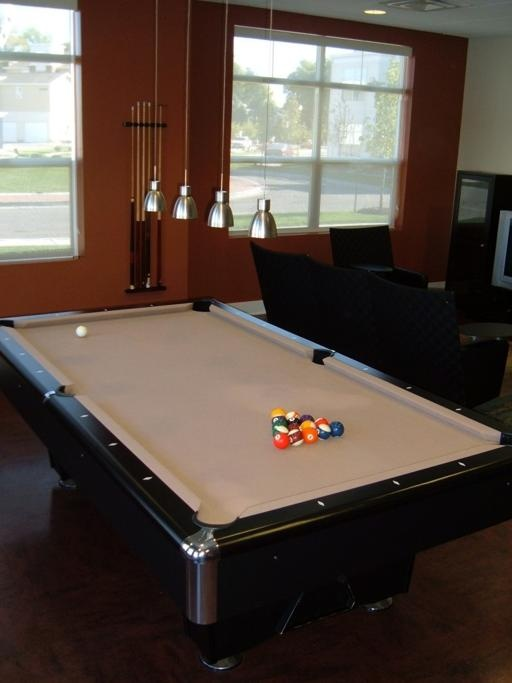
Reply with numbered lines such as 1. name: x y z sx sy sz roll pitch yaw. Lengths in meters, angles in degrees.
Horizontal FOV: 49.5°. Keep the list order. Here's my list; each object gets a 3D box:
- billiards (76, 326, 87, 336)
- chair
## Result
1. billiards: -0.807 -0.049 2.549 0.026 0.047 0.047 5 -26 -21
2. chair: 0.825 -0.202 3.531 0.494 0.570 1.495 -20 32 -30
